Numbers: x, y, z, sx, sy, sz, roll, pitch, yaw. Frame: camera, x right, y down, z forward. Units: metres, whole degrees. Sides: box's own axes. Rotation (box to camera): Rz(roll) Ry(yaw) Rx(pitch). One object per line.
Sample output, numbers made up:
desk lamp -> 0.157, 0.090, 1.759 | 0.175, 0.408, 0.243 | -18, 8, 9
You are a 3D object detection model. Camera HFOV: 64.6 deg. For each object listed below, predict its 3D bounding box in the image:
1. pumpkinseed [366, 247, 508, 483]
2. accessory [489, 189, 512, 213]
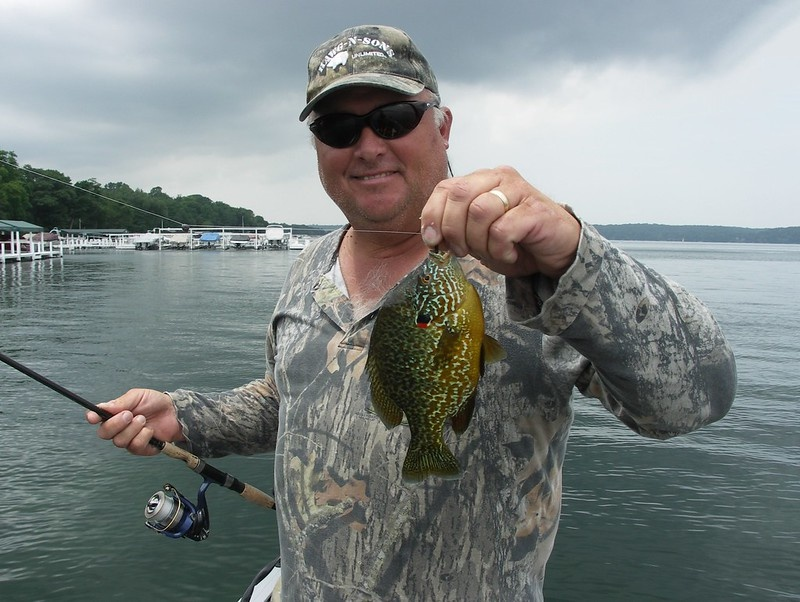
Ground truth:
pumpkinseed -> 0.130, 0.263, 2.622 | 0.406, 0.911, 0.431 | -4, 17, -19
accessory -> 0.382, -0.374, 2.394 | 0.073, 0.073, 0.071 | -45, -11, -23
